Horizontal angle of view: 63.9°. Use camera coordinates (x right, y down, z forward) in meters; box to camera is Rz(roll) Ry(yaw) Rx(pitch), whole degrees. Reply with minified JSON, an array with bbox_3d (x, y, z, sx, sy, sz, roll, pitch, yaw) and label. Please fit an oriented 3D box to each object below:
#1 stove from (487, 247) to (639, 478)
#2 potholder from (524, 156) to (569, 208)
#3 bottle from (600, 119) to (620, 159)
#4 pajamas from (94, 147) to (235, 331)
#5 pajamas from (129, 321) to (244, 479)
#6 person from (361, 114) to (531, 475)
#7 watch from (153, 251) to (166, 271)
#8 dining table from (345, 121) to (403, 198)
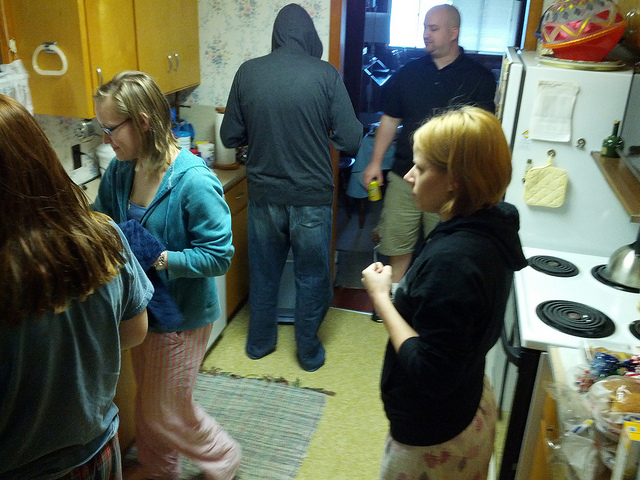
[{"bbox_3d":[1.069,0.587,2.338,0.537,0.913,1.040,10,27,21],"label":"stove"},{"bbox_3d":[1.142,-0.302,2.571,0.233,0.308,0.036,7,28,19],"label":"potholder"},{"bbox_3d":[1.365,-0.467,2.399,0.065,0.160,0.220,12,28,24],"label":"bottle"},{"bbox_3d":[-0.572,-0.007,2.018,0.330,0.672,0.506,-20,32,-34],"label":"pajamas"},{"bbox_3d":[-0.577,0.728,2.183,0.450,0.888,0.192,-7,27,-13],"label":"pajamas"},{"bbox_3d":[0.363,0.236,1.510,0.455,1.143,0.392,2,26,5],"label":"person"},{"bbox_3d":[-0.563,0.075,1.820,0.026,0.058,0.051,5,5,0],"label":"watch"},{"bbox_3d":[0.360,-0.642,4.438,0.624,0.636,0.622,9,25,9],"label":"dining table"}]
